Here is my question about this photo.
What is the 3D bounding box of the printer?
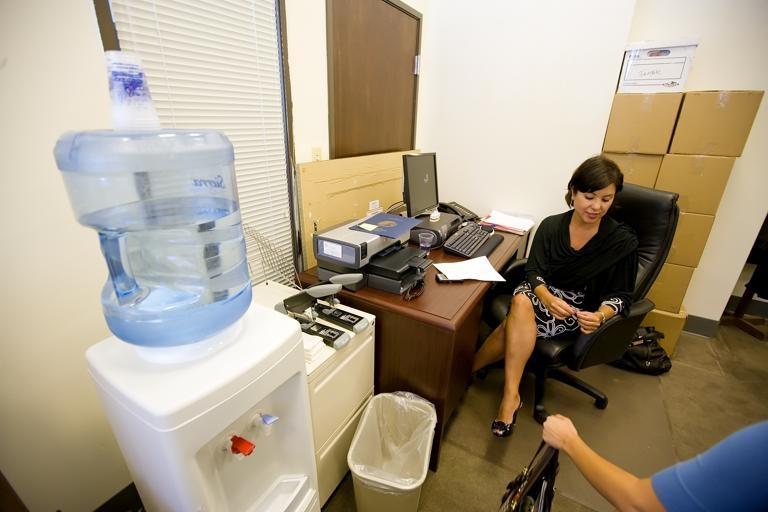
[{"bbox_3d":[-0.069,-0.019,2.762,0.468,0.251,0.515,17,31,28],"label":"printer"}]

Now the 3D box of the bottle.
[{"bbox_3d":[-1.044,-0.671,2.047,0.169,0.302,0.112,-9,27,-21],"label":"bottle"}]

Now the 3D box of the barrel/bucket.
[{"bbox_3d":[-0.951,-0.114,2.153,0.683,0.806,0.622,1,25,0],"label":"barrel/bucket"}]

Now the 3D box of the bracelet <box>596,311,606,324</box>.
[{"bbox_3d":[1.246,0.350,2.852,0.057,0.067,0.043,8,13,35],"label":"bracelet"}]

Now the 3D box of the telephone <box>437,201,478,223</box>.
[{"bbox_3d":[0.561,-0.336,3.755,0.231,0.085,0.173,23,31,19],"label":"telephone"}]

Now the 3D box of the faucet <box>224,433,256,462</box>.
[{"bbox_3d":[-0.633,0.819,2.151,0.125,0.089,0.083,22,-24,-23],"label":"faucet"}]

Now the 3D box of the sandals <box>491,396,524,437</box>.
[{"bbox_3d":[0.760,0.930,2.982,0.081,0.295,0.122,31,-10,-25],"label":"sandals"}]

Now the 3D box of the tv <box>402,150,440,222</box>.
[{"bbox_3d":[0.241,-0.457,3.362,0.089,0.407,0.546,-4,8,24],"label":"tv"}]

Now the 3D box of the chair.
[{"bbox_3d":[1.199,0.264,3.234,1.092,1.373,1.091,9,30,24],"label":"chair"}]

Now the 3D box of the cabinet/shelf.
[{"bbox_3d":[-0.266,0.773,2.660,0.285,0.920,0.571,8,26,15],"label":"cabinet/shelf"}]

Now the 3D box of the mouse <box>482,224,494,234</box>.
[{"bbox_3d":[0.742,-0.196,3.569,0.060,0.026,0.082,-14,32,-30],"label":"mouse"}]
